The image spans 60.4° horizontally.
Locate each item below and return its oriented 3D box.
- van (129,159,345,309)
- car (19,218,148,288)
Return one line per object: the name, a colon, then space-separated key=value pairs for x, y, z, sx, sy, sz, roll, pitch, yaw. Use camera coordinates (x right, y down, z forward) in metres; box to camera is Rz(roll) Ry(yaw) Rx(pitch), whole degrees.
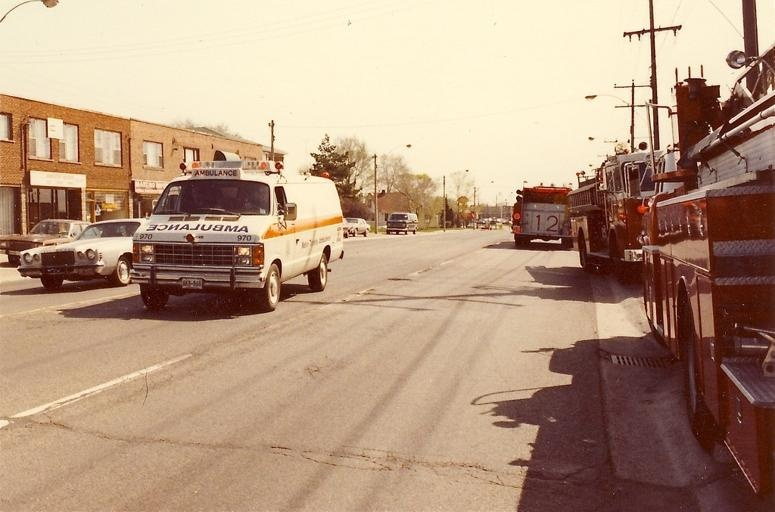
van: x=-2.845 y=-0.502 z=14.872 sx=3.051 sy=2.681 sz=5.505 roll=-2 pitch=-1 yaw=17
car: x=-7.651 y=0.069 z=16.762 sx=2.621 sy=1.676 sz=1.819 roll=-5 pitch=11 yaw=-28
